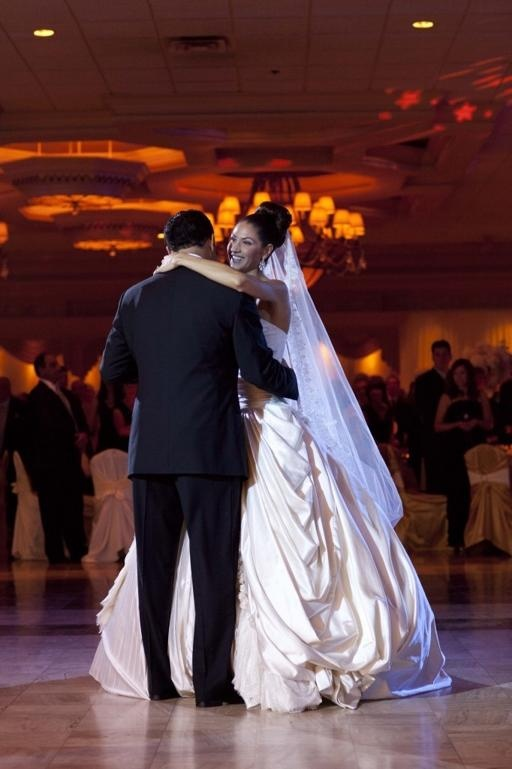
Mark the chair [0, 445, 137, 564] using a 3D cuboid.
[{"bbox_3d":[-1.703,1.092,6.705,1.102,1.232,1.110,3,-9,-6],"label":"chair"}]

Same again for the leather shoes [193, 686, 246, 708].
[{"bbox_3d":[-0.104,0.896,2.057,0.140,0.055,0.029,1,-9,-32],"label":"leather shoes"}]

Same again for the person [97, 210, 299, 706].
[{"bbox_3d":[-0.175,0.181,2.153,0.622,1.500,0.414,-5,-7,2],"label":"person"}]
